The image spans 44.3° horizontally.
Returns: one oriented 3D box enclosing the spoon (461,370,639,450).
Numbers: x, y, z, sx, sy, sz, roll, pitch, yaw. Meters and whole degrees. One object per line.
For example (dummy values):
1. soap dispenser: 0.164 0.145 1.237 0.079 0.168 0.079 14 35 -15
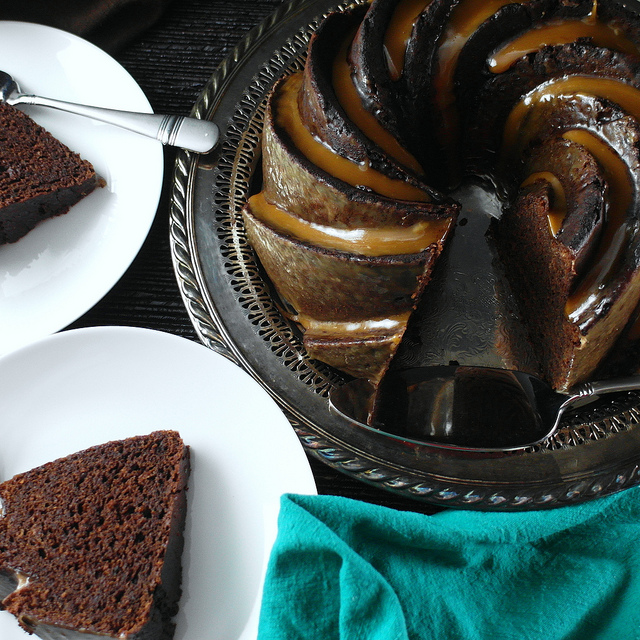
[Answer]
1. spoon: 0.551 0.216 1.802 0.366 0.161 0.141 -15 39 -36
